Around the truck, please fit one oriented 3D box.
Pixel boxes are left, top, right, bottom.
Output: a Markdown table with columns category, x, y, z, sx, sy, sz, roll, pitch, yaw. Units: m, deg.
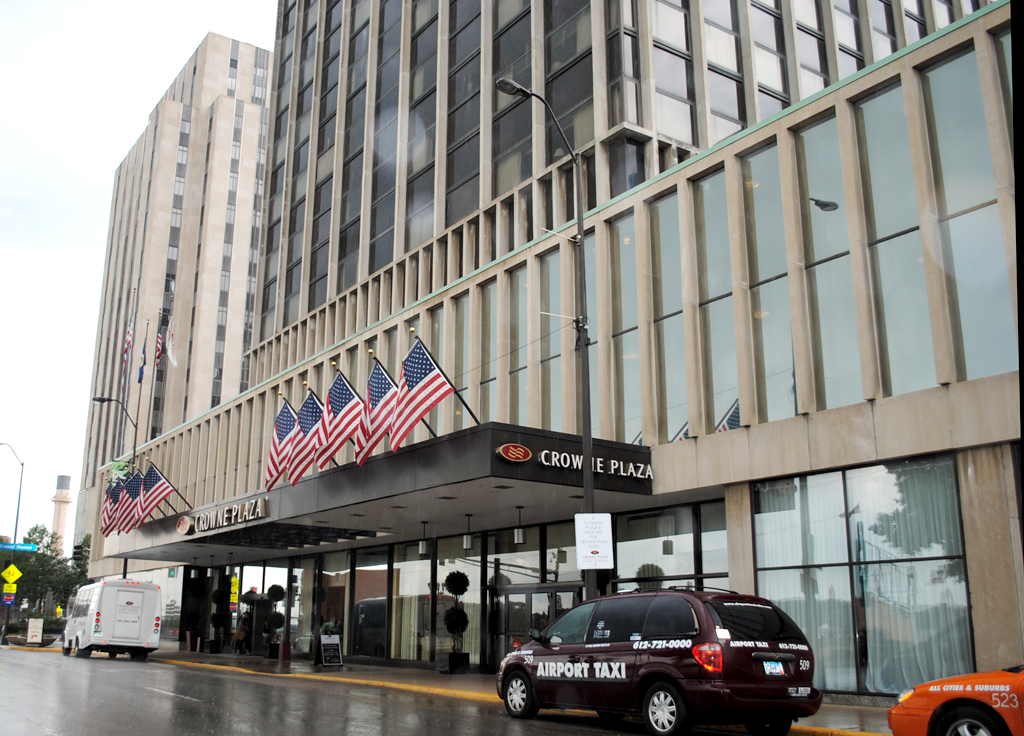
| category | x | y | z | sx | sy | sz | roll | pitch | yaw |
| --- | --- | --- | --- | --- | --- | --- | --- | --- | --- |
| truck | -15.604 | 9.851 | 36.023 | 2.684 | 2.628 | 4.939 | 9 | -18 | -28 |

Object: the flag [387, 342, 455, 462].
| category | x | y | z | sx | sy | sz | roll | pitch | yaw |
| --- | --- | --- | --- | --- | --- | --- | --- | --- | --- |
| flag | -2.531 | 1.050 | 26.059 | 0.298 | 2.645 | 2.496 | 14 | -49 | -45 |

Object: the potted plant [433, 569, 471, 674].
| category | x | y | z | sx | sy | sz | roll | pitch | yaw |
| --- | --- | --- | --- | --- | --- | --- | --- | --- | --- |
| potted plant | -1.901 | 8.352 | 30.464 | 0.895 | 3.303 | 1.474 | 0 | -17 | -2 |

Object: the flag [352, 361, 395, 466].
| category | x | y | z | sx | sy | sz | roll | pitch | yaw |
| --- | --- | --- | --- | --- | --- | --- | --- | --- | --- |
| flag | -3.826 | 1.082 | 25.324 | 1.467 | 3.821 | 0.493 | -31 | -49 | 21 |
